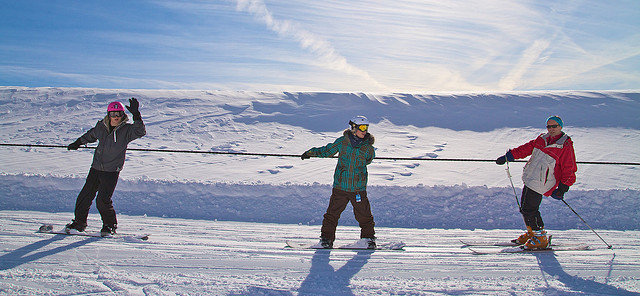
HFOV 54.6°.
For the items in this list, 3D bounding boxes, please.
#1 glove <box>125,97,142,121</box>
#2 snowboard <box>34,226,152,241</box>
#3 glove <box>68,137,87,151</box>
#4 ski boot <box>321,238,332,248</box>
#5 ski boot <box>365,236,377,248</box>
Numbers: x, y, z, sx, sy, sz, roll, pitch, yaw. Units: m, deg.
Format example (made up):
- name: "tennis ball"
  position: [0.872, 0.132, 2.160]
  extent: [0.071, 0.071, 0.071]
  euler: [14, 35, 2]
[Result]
- name: "glove"
  position: [-8.120, -1.673, 27.027]
  extent: [0.594, 0.981, 0.438]
  euler: [3, 4, -17]
- name: "snowboard"
  position: [-9.759, 3.720, 26.972]
  extent: [4.616, 0.434, 0.474]
  euler: [2, 3, 1]
- name: "glove"
  position: [-10.840, -0.180, 27.421]
  extent: [0.499, 0.528, 0.609]
  euler: [2, 3, -22]
- name: "ski boot"
  position: [0.303, 4.119, 26.947]
  extent: [0.403, 0.401, 0.097]
  euler: [3, 4, -3]
- name: "ski boot"
  position: [2.271, 4.091, 27.002]
  extent: [0.450, 0.478, 0.227]
  euler: [2, 4, -28]
